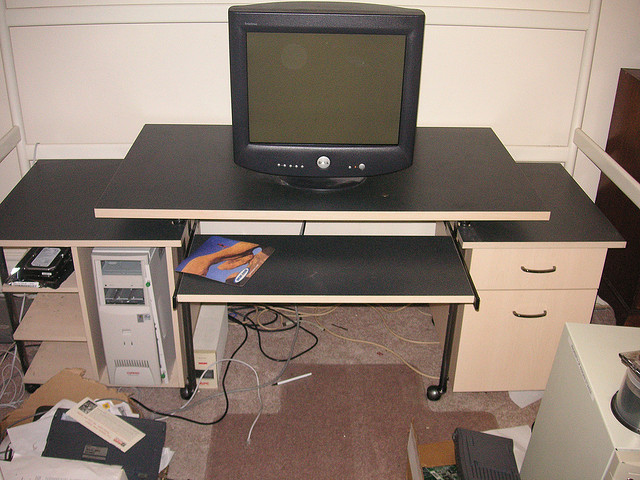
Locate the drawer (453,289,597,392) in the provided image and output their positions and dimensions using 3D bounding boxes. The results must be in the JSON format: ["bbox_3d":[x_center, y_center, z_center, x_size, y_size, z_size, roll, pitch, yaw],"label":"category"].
[{"bbox_3d":[0.881,0.397,2.455,0.495,0.515,0.462,-1,7,4],"label":"drawer"}]
